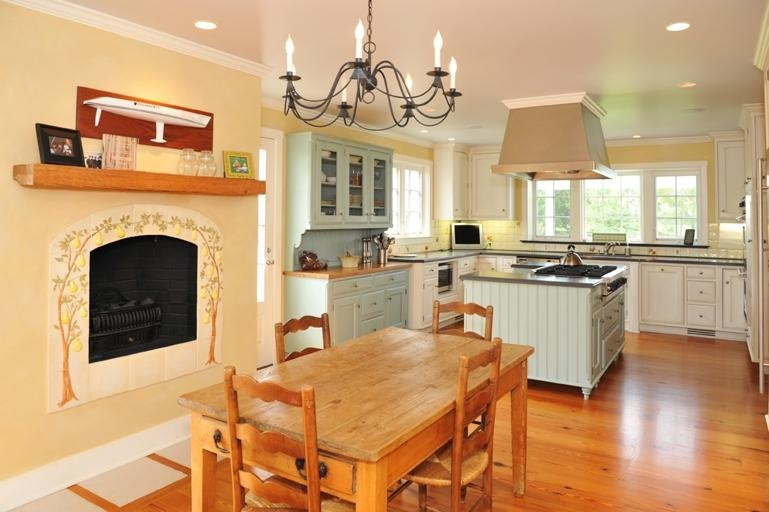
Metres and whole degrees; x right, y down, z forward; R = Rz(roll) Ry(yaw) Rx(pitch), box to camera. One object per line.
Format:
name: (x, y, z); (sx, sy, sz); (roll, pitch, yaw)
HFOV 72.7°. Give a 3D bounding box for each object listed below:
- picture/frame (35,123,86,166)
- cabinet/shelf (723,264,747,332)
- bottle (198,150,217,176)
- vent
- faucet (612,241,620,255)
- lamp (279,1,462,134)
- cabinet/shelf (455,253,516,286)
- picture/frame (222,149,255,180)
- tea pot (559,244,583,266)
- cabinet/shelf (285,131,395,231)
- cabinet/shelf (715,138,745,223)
picture/frame: (-2.390, -0.817, 3.854); (0.045, 0.390, 0.417); (-16, -10, 39)
cabinet/shelf: (4.833, 0.614, 7.237); (0.186, 0.879, 0.383); (-2, 12, -10)
bottle: (-1.533, -0.800, 4.511); (0.126, 0.218, 0.158); (1, 11, 7)
vent: (1.974, -1.320, 6.050); (1.194, 0.623, 1.024); (4, 5, 40)
faucet: (3.665, -0.144, 8.328); (0.129, 0.184, 0.072); (5, 13, 22)
lamp: (-0.147, -1.665, 4.536); (1.129, 0.957, 1.137); (5, 8, 44)
cabinet/shelf: (1.608, 0.116, 8.666); (0.978, 0.285, 0.508); (-3, 11, -15)
picture/frame: (-1.357, -0.847, 4.840); (0.035, 0.275, 0.351); (-9, -2, 36)
tea pot: (2.635, -0.026, 7.388); (0.338, 0.331, 0.337); (-1, 5, 0)
cabinet/shelf: (-0.595, -0.928, 6.505); (0.425, 0.970, 1.523); (0, 0, 36)
cabinet/shelf: (4.921, -1.101, 7.520); (0.402, 1.162, 0.317); (6, 13, 27)
